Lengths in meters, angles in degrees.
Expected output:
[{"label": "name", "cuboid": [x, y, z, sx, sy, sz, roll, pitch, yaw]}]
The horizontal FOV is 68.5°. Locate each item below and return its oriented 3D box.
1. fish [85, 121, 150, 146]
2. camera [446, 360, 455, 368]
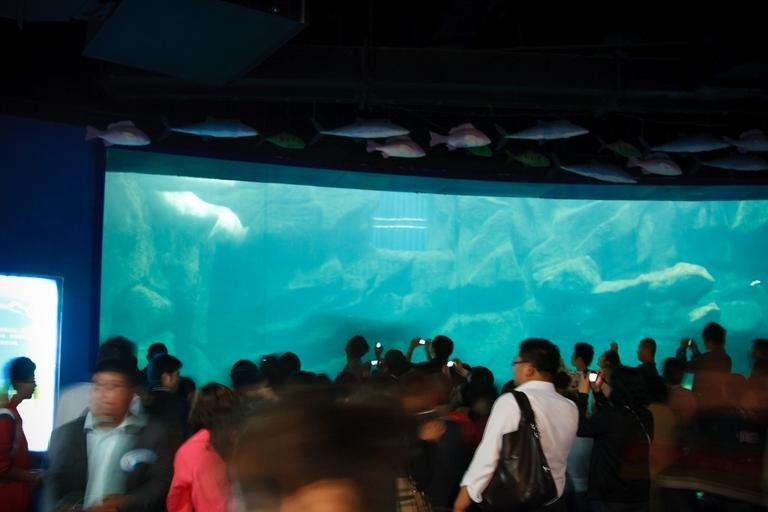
[{"label": "fish", "cuboid": [-3.695, -1.732, 7.927, 0.759, 0.406, 0.563, 2, -7, -11]}, {"label": "camera", "cuboid": [0.817, 1.337, 6.927, 0.106, 0.050, 0.141, 1, -6, 0]}]
